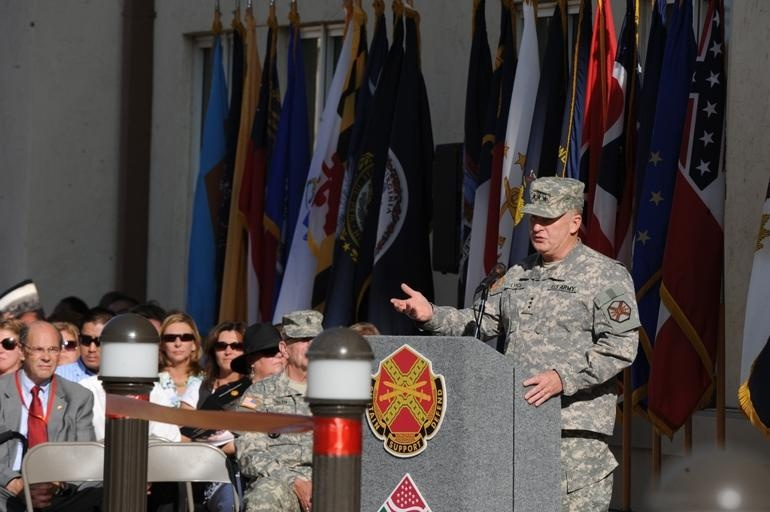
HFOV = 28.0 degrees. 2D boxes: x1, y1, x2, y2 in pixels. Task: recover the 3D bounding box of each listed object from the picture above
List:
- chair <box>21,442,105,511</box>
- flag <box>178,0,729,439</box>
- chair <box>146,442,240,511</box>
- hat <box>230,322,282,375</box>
[{"bbox_3d":[-2.545,1.649,12.224,0.636,0.872,0.567,1,-5,-10],"label":"chair"},{"bbox_3d":[0.778,-0.318,13.401,3.615,5.485,0.661,2,1,34],"label":"flag"},{"bbox_3d":[-1.545,1.714,12.013,0.384,0.653,0.439,0,-3,1],"label":"chair"},{"bbox_3d":[-1.106,0.766,13.086,0.418,0.207,0.392,-23,-6,6],"label":"hat"}]
